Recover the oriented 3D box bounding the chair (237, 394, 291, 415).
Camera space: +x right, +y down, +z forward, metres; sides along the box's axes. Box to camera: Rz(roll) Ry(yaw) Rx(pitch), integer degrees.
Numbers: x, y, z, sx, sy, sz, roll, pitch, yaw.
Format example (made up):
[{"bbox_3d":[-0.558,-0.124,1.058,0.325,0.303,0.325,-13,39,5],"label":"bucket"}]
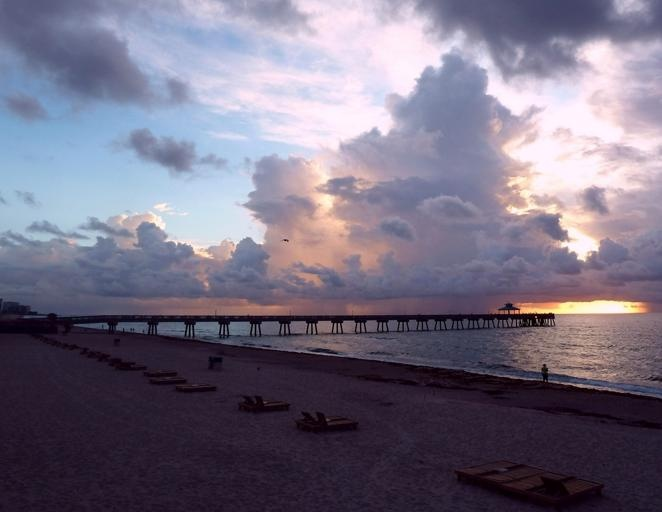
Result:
[{"bbox_3d":[-3.365,7.534,26.246,1.579,0.672,1.389,1,-4,-16],"label":"chair"}]
